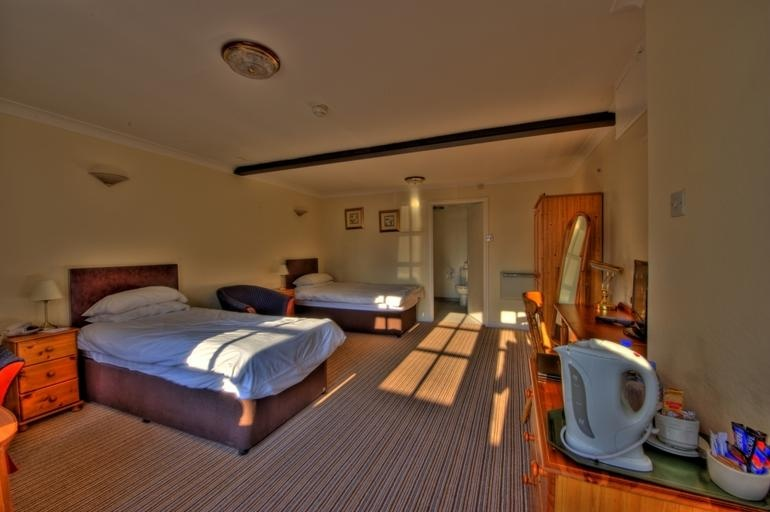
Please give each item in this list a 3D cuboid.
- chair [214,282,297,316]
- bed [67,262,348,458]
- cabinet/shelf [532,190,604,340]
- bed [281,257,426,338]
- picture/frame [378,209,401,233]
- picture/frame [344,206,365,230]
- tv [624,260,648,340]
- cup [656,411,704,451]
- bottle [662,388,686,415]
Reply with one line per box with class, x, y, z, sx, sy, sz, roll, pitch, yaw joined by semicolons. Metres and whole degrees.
chair;-1.645;0.558;5.982;0.525;0.631;0.544;-10;-6;32
bed;-1.769;0.903;5.013;2.405;1.615;1.386;4;4;22
cabinet/shelf;1.885;0.106;4.822;0.462;1.548;1.483;0;2;24
bed;-0.414;0.551;7.243;1.683;1.036;1.121;2;2;21
picture/frame;0.096;-0.585;7.764;0.364;0.392;0.030;1;3;27
picture/frame;-0.499;-0.656;8.039;0.386;0.416;0.040;3;7;34
tv;2.105;0.382;3.966;0.062;0.436;0.591;2;2;19
cup;1.747;1.065;2.823;0.203;0.164;0.219;1;-4;0
bottle;1.741;0.891;2.865;0.139;0.202;0.068;-1;-3;25
